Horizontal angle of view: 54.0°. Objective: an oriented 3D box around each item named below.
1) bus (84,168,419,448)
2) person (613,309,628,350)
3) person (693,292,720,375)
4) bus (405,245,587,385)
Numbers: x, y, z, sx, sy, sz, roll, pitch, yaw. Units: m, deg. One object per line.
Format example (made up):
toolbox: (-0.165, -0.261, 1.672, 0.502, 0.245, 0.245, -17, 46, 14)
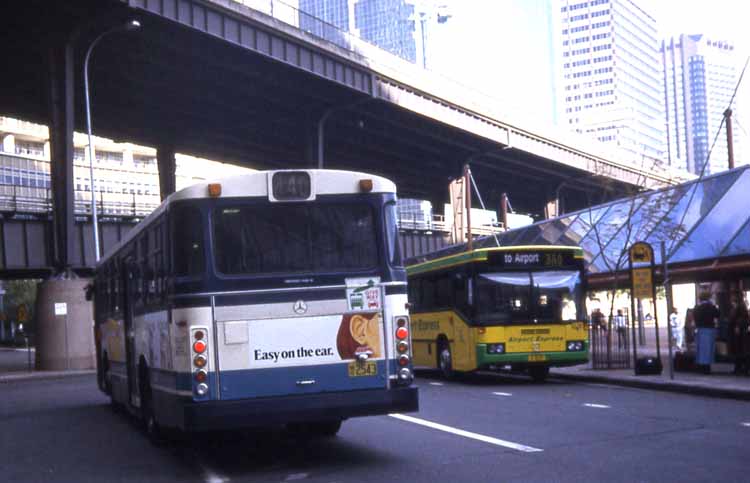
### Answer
bus: (-2.794, 1.448, 14.716, 3.497, 5.227, 7.361, 3, -7, -43)
person: (9.035, 3.182, 27.012, 0.424, 1.446, 3.062, -2, -6, 18)
person: (10.330, 2.813, 22.964, 0.698, 2.472, 1.236, -2, -4, 25)
bus: (3.853, 2.152, 23.193, 5.443, 4.101, 3.039, -3, -5, 20)
